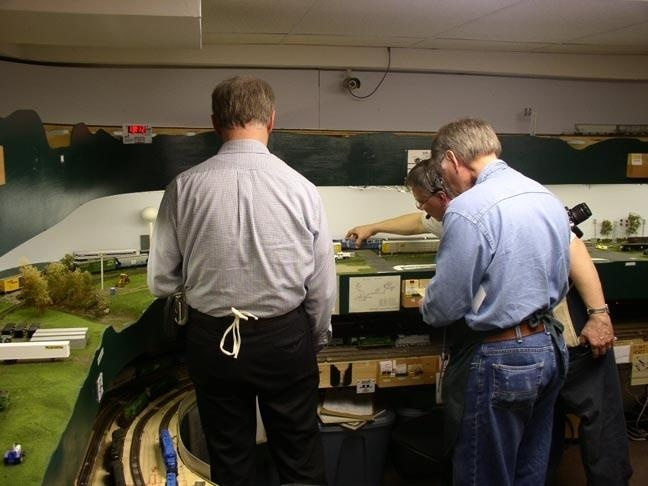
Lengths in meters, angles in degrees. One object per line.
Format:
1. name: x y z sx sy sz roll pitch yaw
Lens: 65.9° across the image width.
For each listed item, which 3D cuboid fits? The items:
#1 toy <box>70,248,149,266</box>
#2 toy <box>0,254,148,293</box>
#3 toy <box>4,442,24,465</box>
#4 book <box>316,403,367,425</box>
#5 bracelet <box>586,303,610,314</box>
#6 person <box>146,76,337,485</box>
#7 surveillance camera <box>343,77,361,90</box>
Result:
1. toy: -1.815 0.118 4.218 0.638 0.149 0.106 -5 9 -38
2. toy: -2.083 0.182 4.043 0.496 0.211 1.261 1 8 29
3. toy: -1.323 0.889 2.123 0.075 0.070 0.073 -5 7 -22
4. book: 0.124 1.271 3.677 0.242 0.055 0.238 1 3 -9
5. bracelet: 1.639 0.396 2.990 0.097 0.067 0.101 0 -7 -27
6. person: -0.420 0.257 2.642 0.940 2.181 0.349 -2 6 5
7. surveillance camera: 0.274 -1.526 4.820 0.138 0.049 0.102 5 -4 14
